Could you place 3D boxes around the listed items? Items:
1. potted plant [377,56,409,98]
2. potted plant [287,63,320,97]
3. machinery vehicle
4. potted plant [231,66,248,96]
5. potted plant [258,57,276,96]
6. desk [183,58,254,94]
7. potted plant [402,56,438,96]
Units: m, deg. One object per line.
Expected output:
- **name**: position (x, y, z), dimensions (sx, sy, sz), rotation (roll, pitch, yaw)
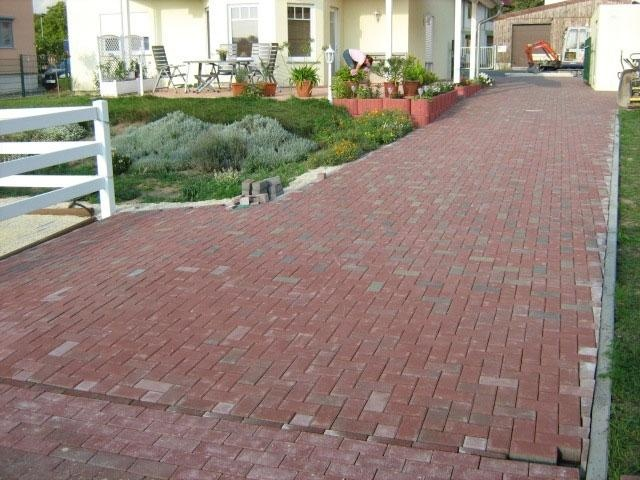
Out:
- **potted plant**: position (2.194, -4.972, 16.492), dimensions (1.198, 1.641, 1.153), rotation (-1, 11, 1)
- **potted plant**: position (-0.546, -5.167, 17.955), dimensions (0.810, 1.015, 0.846), rotation (-2, 10, -6)
- **machinery vehicle**: position (15.705, -13.029, 36.955), dimensions (3.165, 2.618, 9.111), rotation (4, 23, 16)
- **potted plant**: position (-2.702, -5.201, 18.039), dimensions (0.556, 0.754, 1.916), rotation (-4, 22, -7)
- **potted plant**: position (-1.836, -5.238, 18.023), dimensions (0.500, 1.145, 0.573), rotation (-7, 4, 32)
- **desk**: position (-3.565, -5.768, 19.326), dimensions (1.502, 0.885, 1.615), rotation (2, 24, 4)
- **potted plant**: position (2.800, -4.862, 16.550), dimensions (0.948, 1.066, 0.995), rotation (-1, 12, -14)
